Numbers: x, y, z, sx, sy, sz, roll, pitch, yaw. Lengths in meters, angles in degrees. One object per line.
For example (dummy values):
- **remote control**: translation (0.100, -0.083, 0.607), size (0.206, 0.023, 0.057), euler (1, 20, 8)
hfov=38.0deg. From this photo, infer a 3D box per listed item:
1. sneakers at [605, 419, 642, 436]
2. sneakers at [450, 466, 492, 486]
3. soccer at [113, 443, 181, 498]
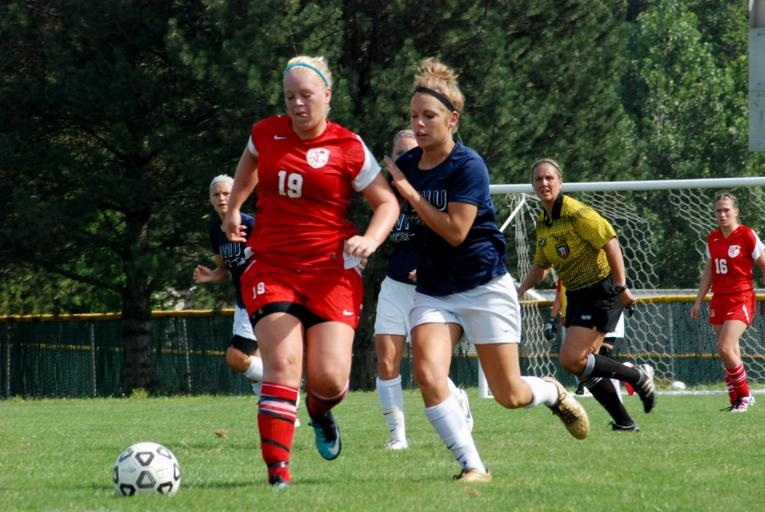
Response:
- **sneakers**: translation (3.573, 2.526, 16.571), size (0.459, 0.198, 0.164), euler (4, 0, -1)
- **sneakers**: translation (1.106, 2.787, 14.074), size (0.517, 0.179, 0.180), euler (4, -5, -6)
- **soccer**: translation (-2.986, 2.703, 14.226), size (0.743, 0.707, 0.659), euler (1, -24, -4)
